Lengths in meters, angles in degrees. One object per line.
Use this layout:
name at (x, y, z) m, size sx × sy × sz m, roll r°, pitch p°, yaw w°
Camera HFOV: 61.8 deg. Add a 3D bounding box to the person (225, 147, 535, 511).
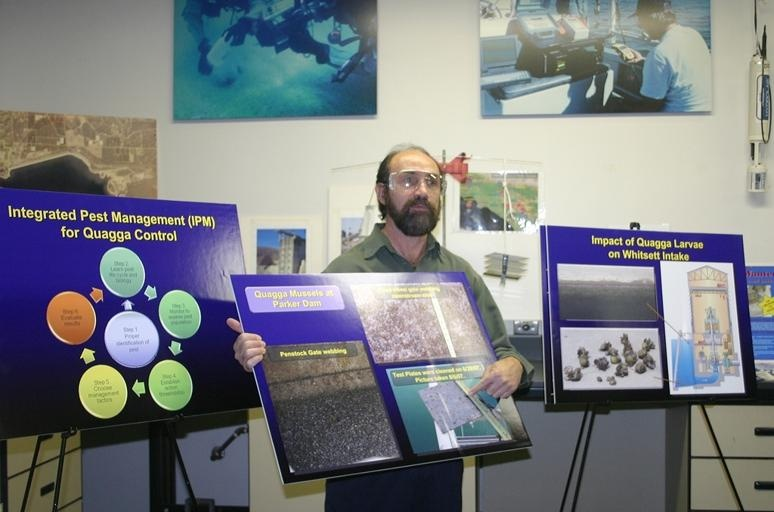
person at (0.117, 0.365, 3.168) m, size 1.021 × 1.822 × 0.854 m, roll -5°, pitch 6°, yaw -19°
